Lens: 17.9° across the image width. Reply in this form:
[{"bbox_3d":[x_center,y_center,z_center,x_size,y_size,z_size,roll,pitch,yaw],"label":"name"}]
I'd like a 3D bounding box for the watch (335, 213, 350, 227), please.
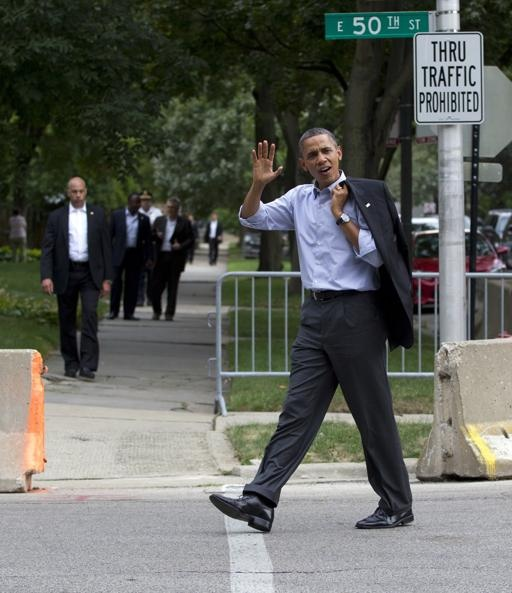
[{"bbox_3d":[0.510,-0.454,9.666,0.075,0.049,0.078,-31,-17,-26],"label":"watch"}]

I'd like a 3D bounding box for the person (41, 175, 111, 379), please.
[{"bbox_3d":[-1.590,-0.155,14.721,0.619,1.820,0.562,-2,3,-7],"label":"person"}]

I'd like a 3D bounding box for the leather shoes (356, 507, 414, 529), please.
[{"bbox_3d":[0.770,1.363,9.944,0.307,0.176,0.139,2,-11,-2],"label":"leather shoes"}]

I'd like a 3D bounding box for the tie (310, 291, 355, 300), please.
[{"bbox_3d":[0.463,-0.004,9.759,0.297,0.071,0.068,0,4,27],"label":"tie"}]

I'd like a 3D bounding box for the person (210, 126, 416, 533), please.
[{"bbox_3d":[0.435,0.203,9.818,1.022,2.430,0.609,-2,3,0],"label":"person"}]

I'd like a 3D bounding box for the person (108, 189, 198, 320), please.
[{"bbox_3d":[-1.257,-0.477,19.857,1.035,1.528,0.760,-2,3,-6],"label":"person"}]
